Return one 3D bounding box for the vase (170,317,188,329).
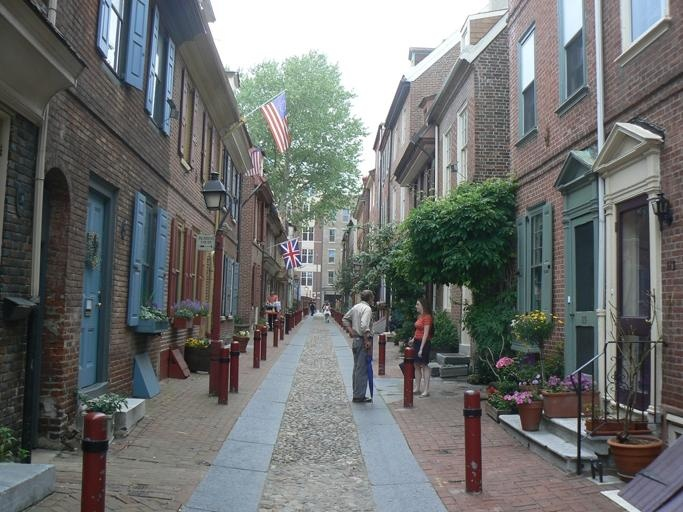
[{"bbox_3d":[-3.540,1.445,13.708,0.363,0.218,0.396,0,-11,-17],"label":"vase"}]

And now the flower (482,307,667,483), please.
[{"bbox_3d":[3.397,2.130,8.919,0.881,1.491,2.643,1,-2,-1],"label":"flower"}]

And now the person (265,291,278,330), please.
[{"bbox_3d":[-3.238,2.542,28.823,0.602,1.598,1.593,1,-2,3],"label":"person"}]

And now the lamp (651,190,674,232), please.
[{"bbox_3d":[4.344,-0.662,8.409,0.252,0.529,0.267,1,6,36],"label":"lamp"}]

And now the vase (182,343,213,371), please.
[{"bbox_3d":[-3.285,2.326,14.247,0.468,0.700,0.876,2,-2,18],"label":"vase"}]

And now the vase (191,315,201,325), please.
[{"bbox_3d":[-3.522,1.554,15.128,0.152,0.201,0.250,1,-4,5],"label":"vase"}]

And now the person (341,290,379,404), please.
[{"bbox_3d":[0.359,1.717,12.159,0.560,2.203,0.984,-2,-9,1],"label":"person"}]

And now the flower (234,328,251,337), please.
[{"bbox_3d":[-3.639,2.766,22.684,0.619,0.480,0.681,0,-8,0],"label":"flower"}]

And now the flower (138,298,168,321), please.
[{"bbox_3d":[-3.554,1.024,11.669,0.424,0.394,0.776,-2,-10,-3],"label":"flower"}]

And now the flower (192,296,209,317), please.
[{"bbox_3d":[-3.520,1.252,15.439,0.382,0.482,0.442,2,-15,16],"label":"flower"}]

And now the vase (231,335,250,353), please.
[{"bbox_3d":[-3.205,2.826,20.113,0.345,0.564,0.926,-4,-10,13],"label":"vase"}]
